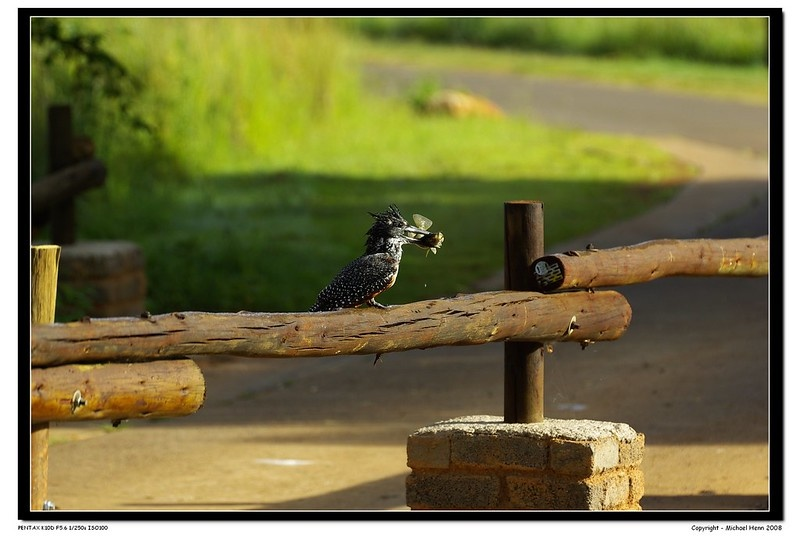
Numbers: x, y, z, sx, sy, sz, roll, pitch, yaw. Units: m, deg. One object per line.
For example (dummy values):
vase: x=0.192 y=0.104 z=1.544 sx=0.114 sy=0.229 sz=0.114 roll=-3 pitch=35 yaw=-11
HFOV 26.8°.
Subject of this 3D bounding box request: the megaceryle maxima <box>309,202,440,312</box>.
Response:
megaceryle maxima: x=-0.264 y=-0.070 z=16.874 sx=1.430 sy=1.004 sz=0.446 roll=-5 pitch=11 yaw=-29
